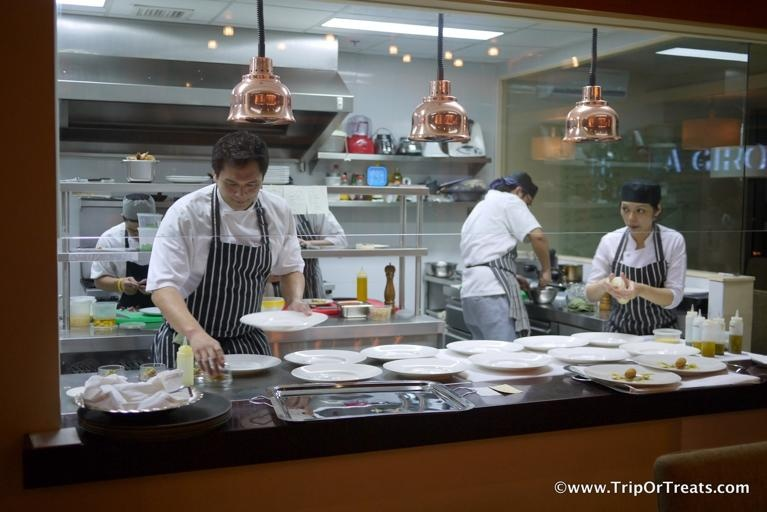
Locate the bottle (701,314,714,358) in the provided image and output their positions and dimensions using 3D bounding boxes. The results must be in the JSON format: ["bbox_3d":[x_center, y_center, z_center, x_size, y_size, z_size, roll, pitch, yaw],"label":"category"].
[{"bbox_3d":[1.420,0.359,2.626,0.061,0.151,0.031,-1,3,5],"label":"bottle"}]

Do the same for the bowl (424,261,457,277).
[{"bbox_3d":[0.270,0.064,2.806,0.134,0.084,0.159,-1,3,-4],"label":"bowl"}]

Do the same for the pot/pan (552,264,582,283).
[{"bbox_3d":[0.927,0.090,3.027,0.148,0.087,0.103,-1,2,5],"label":"pot/pan"}]

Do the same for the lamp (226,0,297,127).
[{"bbox_3d":[-0.483,-0.749,2.341,0.237,0.479,0.302,-2,3,-10],"label":"lamp"}]

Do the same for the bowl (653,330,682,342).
[{"bbox_3d":[1.309,0.364,2.781,0.113,0.055,0.145,0,3,24],"label":"bowl"}]

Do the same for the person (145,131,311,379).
[{"bbox_3d":[-0.611,-0.029,2.412,0.377,0.904,0.572,0,3,34],"label":"person"}]

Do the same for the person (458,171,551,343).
[{"bbox_3d":[0.592,0.029,2.983,0.422,0.860,0.613,-1,3,7],"label":"person"}]

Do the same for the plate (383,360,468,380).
[{"bbox_3d":[0.166,0.445,2.384,0.330,0.058,0.189,-2,3,-9],"label":"plate"}]

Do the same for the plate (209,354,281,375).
[{"bbox_3d":[-0.504,0.422,2.354,0.207,0.059,0.161,-2,3,-17],"label":"plate"}]

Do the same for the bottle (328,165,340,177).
[{"bbox_3d":[-0.205,-0.350,2.474,0.059,0.049,0.028,0,6,-21],"label":"bottle"}]

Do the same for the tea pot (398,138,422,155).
[{"bbox_3d":[0.119,-0.479,2.672,0.109,0.069,0.074,-1,9,-12],"label":"tea pot"}]

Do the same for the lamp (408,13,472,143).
[{"bbox_3d":[0.230,-0.741,2.541,0.243,0.511,0.275,-1,3,7],"label":"lamp"}]

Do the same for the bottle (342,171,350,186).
[{"bbox_3d":[-0.159,-0.325,2.525,0.023,0.056,0.088,-1,3,11],"label":"bottle"}]

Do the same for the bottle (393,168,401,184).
[{"bbox_3d":[0.063,-0.353,2.698,0.037,0.064,0.038,-2,3,0],"label":"bottle"}]

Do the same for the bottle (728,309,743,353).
[{"bbox_3d":[1.585,0.342,2.715,0.048,0.186,0.103,0,3,27],"label":"bottle"}]

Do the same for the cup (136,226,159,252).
[{"bbox_3d":[-0.897,-0.064,2.349,0.105,0.101,0.084,1,-1,-14],"label":"cup"}]

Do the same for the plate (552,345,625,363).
[{"bbox_3d":[0.882,0.425,2.594,0.333,0.045,0.190,-2,3,-21],"label":"plate"}]

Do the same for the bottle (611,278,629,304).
[{"bbox_3d":[1.113,0.164,2.840,0.082,0.130,0.087,-2,3,0],"label":"bottle"}]

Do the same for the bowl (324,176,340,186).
[{"bbox_3d":[-0.206,-0.304,2.464,0.054,0.028,0.049,0,-4,0],"label":"bowl"}]

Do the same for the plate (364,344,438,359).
[{"bbox_3d":[0.072,0.406,2.550,0.316,0.043,0.201,-1,3,3],"label":"plate"}]

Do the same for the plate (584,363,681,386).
[{"bbox_3d":[0.959,0.461,2.345,0.349,0.062,0.216,-2,3,-19],"label":"plate"}]

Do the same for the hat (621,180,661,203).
[{"bbox_3d":[1.217,-0.296,2.844,0.183,0.112,0.040,-2,3,-7],"label":"hat"}]

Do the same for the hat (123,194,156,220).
[{"bbox_3d":[-0.921,-0.187,2.273,0.105,0.074,0.098,2,23,-10],"label":"hat"}]

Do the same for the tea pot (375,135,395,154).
[{"bbox_3d":[0.003,-0.495,2.720,0.097,0.077,0.087,0,-2,-7],"label":"tea pot"}]

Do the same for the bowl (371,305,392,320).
[{"bbox_3d":[-0.007,0.264,2.799,0.082,0.042,0.075,0,3,0],"label":"bowl"}]

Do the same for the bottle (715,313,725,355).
[{"bbox_3d":[1.498,0.354,2.676,0.023,0.166,0.108,0,3,34],"label":"bottle"}]

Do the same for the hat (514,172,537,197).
[{"bbox_3d":[0.685,-0.338,2.885,0.108,0.122,0.031,-3,3,-24],"label":"hat"}]

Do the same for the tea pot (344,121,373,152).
[{"bbox_3d":[-0.093,-0.512,2.670,0.156,0.147,0.147,0,-3,0],"label":"tea pot"}]

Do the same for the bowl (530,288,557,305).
[{"bbox_3d":[0.875,0.216,3.283,0.117,0.050,0.108,0,-5,0],"label":"bowl"}]

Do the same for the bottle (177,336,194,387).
[{"bbox_3d":[-0.693,0.386,2.121,0.056,0.172,0.223,-3,3,-17],"label":"bottle"}]

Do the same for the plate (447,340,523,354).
[{"bbox_3d":[0.448,0.400,2.635,0.319,0.048,0.173,-2,3,-15],"label":"plate"}]

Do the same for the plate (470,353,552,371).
[{"bbox_3d":[0.526,0.434,2.467,0.288,0.053,0.214,-3,3,-32],"label":"plate"}]

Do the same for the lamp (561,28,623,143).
[{"bbox_3d":[0.958,-0.775,2.800,0.242,0.485,0.244,-1,3,15],"label":"lamp"}]

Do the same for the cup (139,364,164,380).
[{"bbox_3d":[-0.837,0.410,2.155,0.069,0.035,0.063,0,-1,0],"label":"cup"}]

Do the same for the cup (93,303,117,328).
[{"bbox_3d":[-1.121,0.242,2.487,0.114,0.093,0.105,1,0,0],"label":"cup"}]

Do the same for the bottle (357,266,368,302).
[{"bbox_3d":[-0.101,0.141,2.782,0.060,0.149,0.047,-1,3,17],"label":"bottle"}]

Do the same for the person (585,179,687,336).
[{"bbox_3d":[1.213,0.013,2.905,0.438,0.728,0.189,-2,3,-7],"label":"person"}]

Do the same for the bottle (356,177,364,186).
[{"bbox_3d":[-0.098,-0.327,2.621,0.011,0.040,0.056,0,3,30],"label":"bottle"}]

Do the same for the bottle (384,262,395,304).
[{"bbox_3d":[0.030,0.136,2.770,0.056,0.198,0.103,-2,3,0],"label":"bottle"}]
